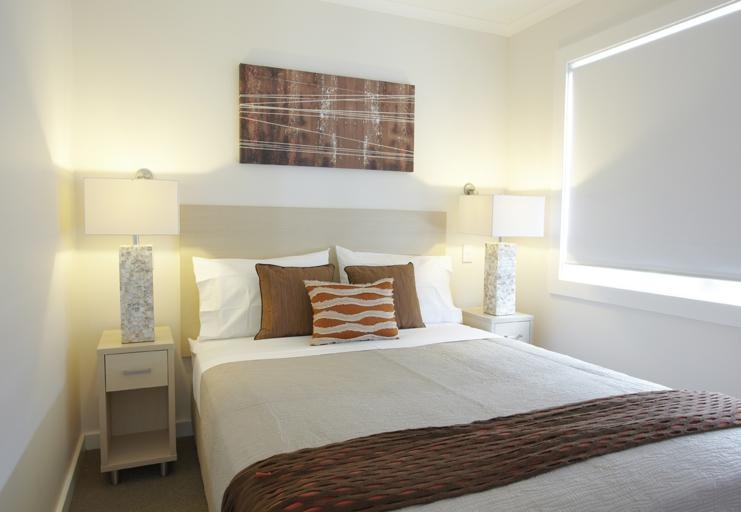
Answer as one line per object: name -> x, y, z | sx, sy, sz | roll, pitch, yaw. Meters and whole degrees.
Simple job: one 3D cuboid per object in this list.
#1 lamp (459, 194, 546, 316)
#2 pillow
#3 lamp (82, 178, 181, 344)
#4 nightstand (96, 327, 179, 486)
lamp -> 1.091, -0.043, 4.068 | 0.595, 0.833, 0.619 | 4, 11, 21
pillow -> -0.346, 0.252, 3.658 | 1.829, 0.573, 0.439 | -3, 11, -17
lamp -> -1.521, -0.119, 3.226 | 0.347, 0.484, 0.877 | 11, -42, -21
nightstand -> -1.532, 0.939, 3.248 | 0.487, 0.898, 0.580 | -5, 12, -23
